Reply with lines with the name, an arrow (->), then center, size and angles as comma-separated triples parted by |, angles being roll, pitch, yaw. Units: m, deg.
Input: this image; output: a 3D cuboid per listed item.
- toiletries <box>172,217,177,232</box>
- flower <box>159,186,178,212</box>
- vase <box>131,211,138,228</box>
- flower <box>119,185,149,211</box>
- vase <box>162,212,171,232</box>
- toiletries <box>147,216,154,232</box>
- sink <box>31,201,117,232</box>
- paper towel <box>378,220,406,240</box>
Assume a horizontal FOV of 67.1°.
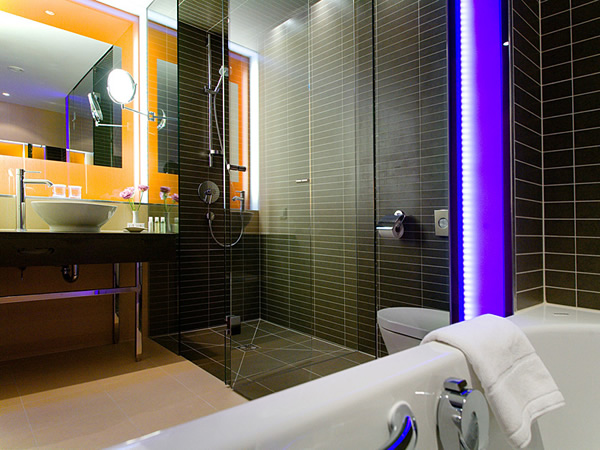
toiletries -> -1.052, 0.005, 3.802 | 0.028, 0.122, 0.079 | -5, 11, -36
flower -> -1.112, -0.222, 3.895 | 0.221, 0.203, 0.119 | 7, 10, 32
vase -> -1.347, -0.047, 3.673 | 0.045, 0.119, 0.094 | -2, 9, -23
flower -> -1.444, -0.234, 3.910 | 0.246, 0.281, 0.296 | 2, -2, -32
vase -> -1.145, -0.024, 3.855 | 0.053, 0.171, 0.116 | -7, 12, -44
toiletries -> -1.292, -0.005, 3.900 | 0.053, 0.113, 0.183 | -1, 8, -18
sink -> -1.593, -0.024, 3.225 | 0.605, 0.197, 0.584 | 1, -11, -21
paper towel -> 0.541, 0.030, 2.690 | 0.128, 0.090, 0.112 | 1, 1, 43
